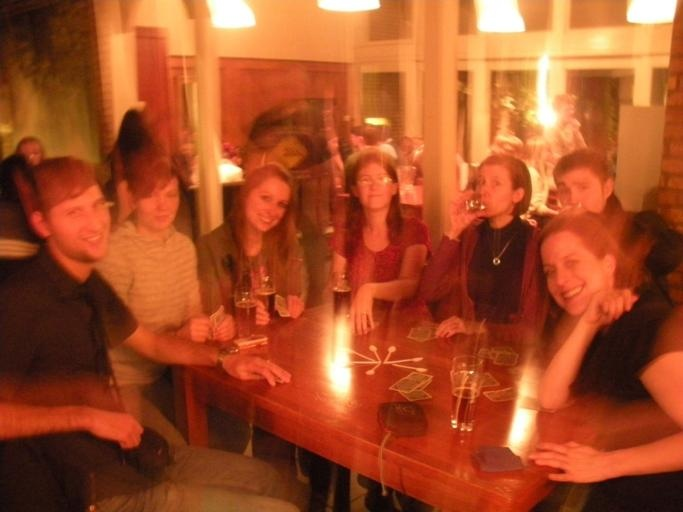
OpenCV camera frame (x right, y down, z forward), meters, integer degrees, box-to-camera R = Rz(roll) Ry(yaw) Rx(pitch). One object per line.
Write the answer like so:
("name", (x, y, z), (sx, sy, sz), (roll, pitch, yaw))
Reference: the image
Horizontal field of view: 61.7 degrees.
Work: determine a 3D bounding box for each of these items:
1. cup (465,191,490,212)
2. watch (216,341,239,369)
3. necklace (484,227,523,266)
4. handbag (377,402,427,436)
("cup", (0.607, -0.244, 2.548), (0.090, 0.067, 0.208), (6, 20, 16))
("watch", (-0.364, 0.308, 1.803), (0.056, 0.074, 0.018), (29, -22, -30))
("necklace", (0.693, -0.039, 2.472), (0.124, 0.152, 0.087), (9, 22, 25))
("handbag", (0.157, 0.419, 1.477), (0.122, 0.038, 0.106), (-1, 19, -1))
